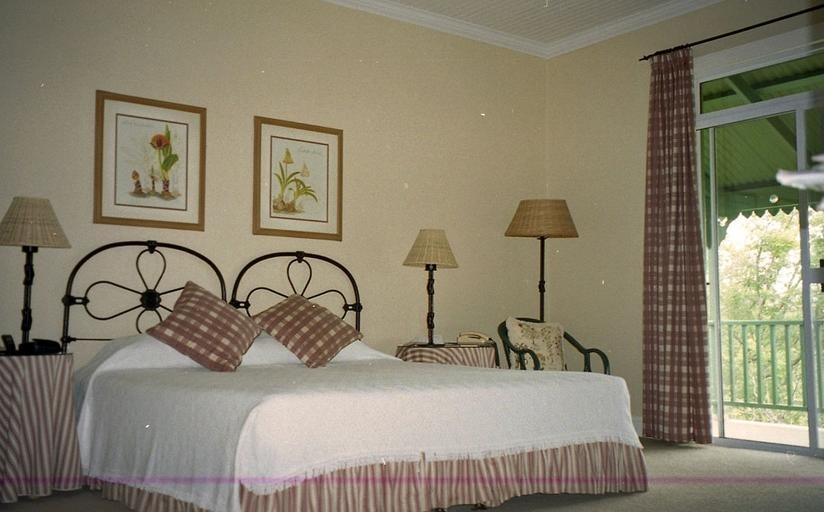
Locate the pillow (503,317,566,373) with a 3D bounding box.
[{"bbox_3d":[1.226,0.840,6.009,0.496,0.507,0.147,4,-14,-13],"label":"pillow"}]
